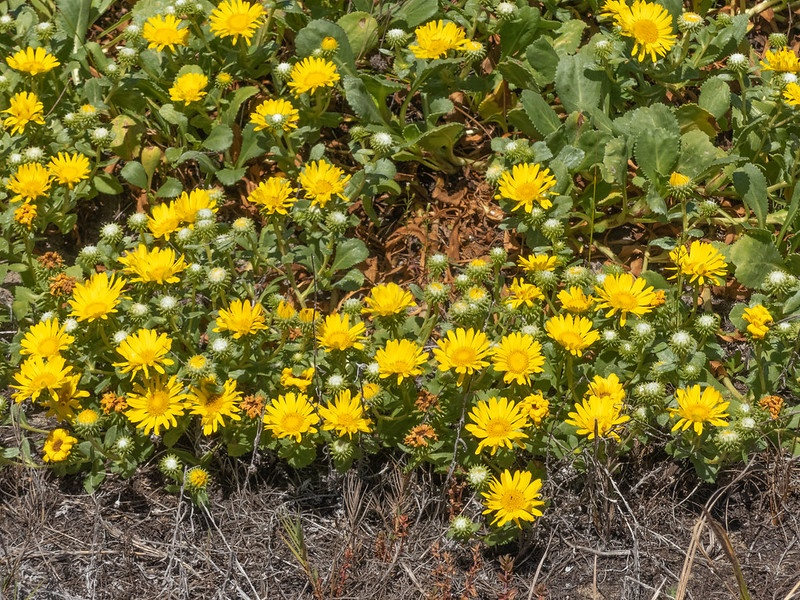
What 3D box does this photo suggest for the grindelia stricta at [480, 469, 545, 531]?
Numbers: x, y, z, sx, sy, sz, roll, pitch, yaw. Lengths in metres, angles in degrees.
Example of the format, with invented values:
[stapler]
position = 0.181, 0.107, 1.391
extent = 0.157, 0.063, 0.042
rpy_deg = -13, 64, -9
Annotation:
[grindelia stricta]
position = 0.414, 0.674, 2.882
extent = 0.182, 0.078, 0.203
rpy_deg = -7, 5, 0
